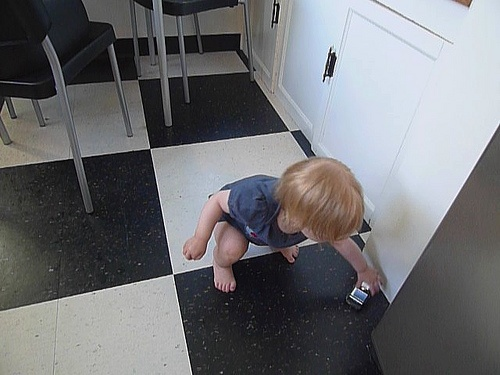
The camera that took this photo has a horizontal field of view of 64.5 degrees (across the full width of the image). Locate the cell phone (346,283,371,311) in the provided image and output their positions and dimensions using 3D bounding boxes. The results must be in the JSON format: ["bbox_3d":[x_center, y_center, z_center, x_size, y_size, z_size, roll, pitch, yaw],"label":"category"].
[{"bbox_3d":[0.392,0.382,1.440,0.049,0.035,0.097,19,52,27],"label":"cell phone"}]
